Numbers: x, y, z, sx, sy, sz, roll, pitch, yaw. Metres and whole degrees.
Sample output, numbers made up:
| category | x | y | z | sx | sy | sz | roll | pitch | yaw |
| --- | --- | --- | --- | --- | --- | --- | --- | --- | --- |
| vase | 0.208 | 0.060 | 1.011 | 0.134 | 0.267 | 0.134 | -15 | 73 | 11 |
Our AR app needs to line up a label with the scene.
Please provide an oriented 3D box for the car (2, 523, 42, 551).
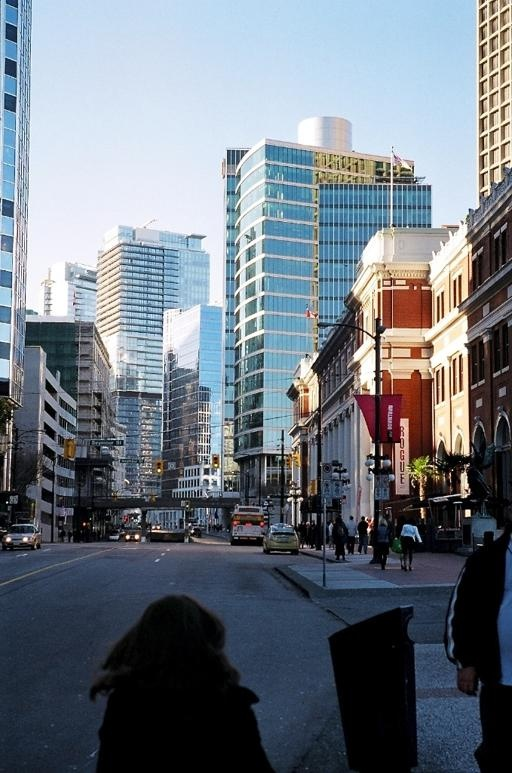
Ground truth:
| category | x | y | z | sx | sy | sz | roll | pitch | yaw |
| --- | --- | --- | --- | --- | --- | --- | --- | --- | --- |
| car | -13.715 | 8.803 | 55.292 | 1.130 | 1.164 | 3.123 | -1 | -14 | -5 |

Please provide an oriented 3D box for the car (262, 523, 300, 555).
| category | x | y | z | sx | sy | sz | roll | pitch | yaw |
| --- | --- | --- | --- | --- | --- | --- | --- | --- | --- |
| car | 1.363 | 8.028 | 48.823 | 1.469 | 1.496 | 2.906 | 1 | -10 | -8 |

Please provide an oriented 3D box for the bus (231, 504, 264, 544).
| category | x | y | z | sx | sy | sz | roll | pitch | yaw |
| --- | --- | --- | --- | --- | --- | --- | --- | --- | --- |
| bus | -0.571 | 10.263 | 69.594 | 2.409 | 2.623 | 2.975 | -1 | -9 | 1 |
